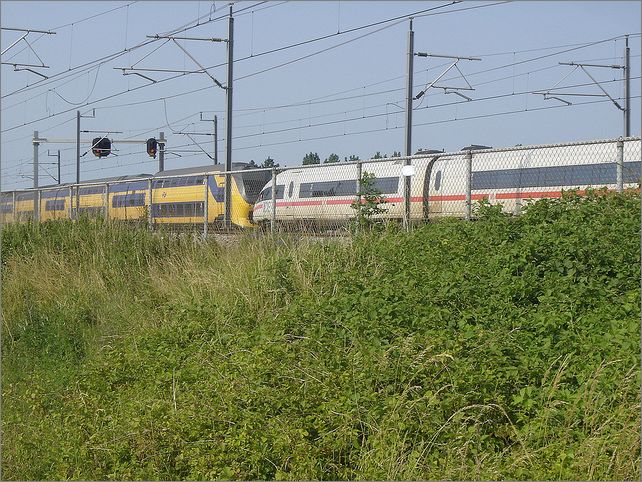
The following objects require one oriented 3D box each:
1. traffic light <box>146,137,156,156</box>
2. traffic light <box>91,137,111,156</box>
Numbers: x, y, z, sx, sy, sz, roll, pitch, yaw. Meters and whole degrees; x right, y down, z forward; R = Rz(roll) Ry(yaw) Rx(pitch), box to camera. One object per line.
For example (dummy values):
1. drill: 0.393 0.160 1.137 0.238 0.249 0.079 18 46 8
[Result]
1. traffic light: -5.955 -3.253 28.459 0.329 0.665 0.653 -1 4 -15
2. traffic light: -7.729 -3.296 28.352 0.492 0.659 0.688 2 4 20
